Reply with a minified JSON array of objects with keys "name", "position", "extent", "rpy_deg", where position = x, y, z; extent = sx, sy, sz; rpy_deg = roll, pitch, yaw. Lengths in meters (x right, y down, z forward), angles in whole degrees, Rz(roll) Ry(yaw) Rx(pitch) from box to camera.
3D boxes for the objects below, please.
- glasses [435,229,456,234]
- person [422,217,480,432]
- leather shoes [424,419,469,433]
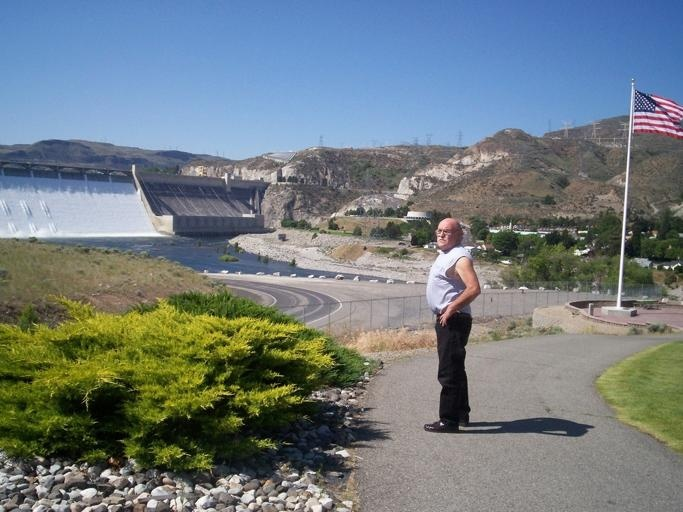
[{"name":"glasses","position":[1.226,-0.285,6.751],"extent":[0.131,0.032,0.133],"rpy_deg":[0,-4,38]},{"name":"person","position":[1.285,0.832,6.714],"extent":[0.612,2.529,0.860],"rpy_deg":[2,5,8]},{"name":"leather shoes","position":[1.216,2.045,6.857],"extent":[0.553,0.166,0.178],"rpy_deg":[3,-2,0]}]
